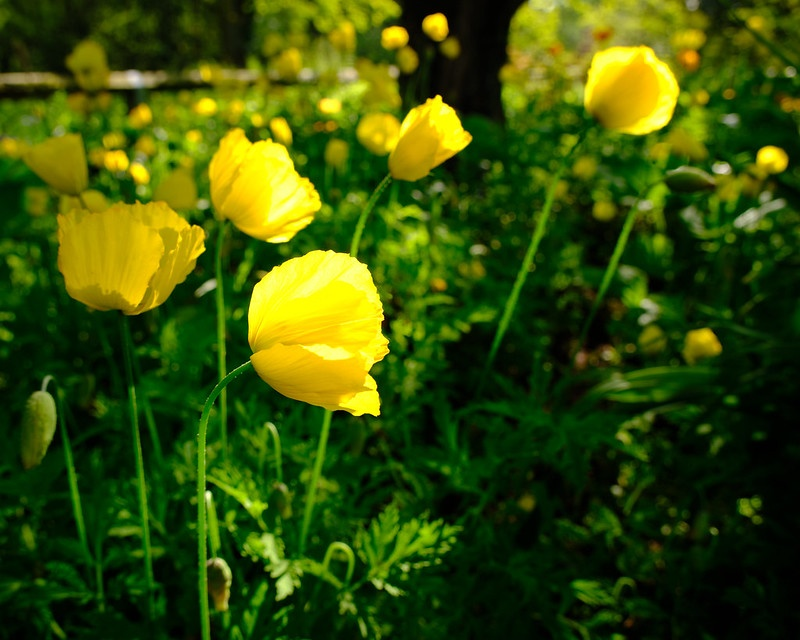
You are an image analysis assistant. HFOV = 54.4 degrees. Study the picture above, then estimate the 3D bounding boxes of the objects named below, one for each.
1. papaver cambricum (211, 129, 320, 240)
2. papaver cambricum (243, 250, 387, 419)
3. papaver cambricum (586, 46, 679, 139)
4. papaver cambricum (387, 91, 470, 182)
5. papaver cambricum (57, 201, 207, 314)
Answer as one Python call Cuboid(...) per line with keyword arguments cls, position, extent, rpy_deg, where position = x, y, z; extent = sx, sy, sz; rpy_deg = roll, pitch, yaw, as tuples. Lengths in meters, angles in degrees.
Cuboid(cls="papaver cambricum", position=(-0.261, -0.232, 1.349), extent=(0.171, 0.122, 0.162), rpy_deg=(19, 1, -27))
Cuboid(cls="papaver cambricum", position=(-0.124, 0.018, 1.187), extent=(0.212, 0.249, 0.089), rpy_deg=(4, 11, -9))
Cuboid(cls="papaver cambricum", position=(0.421, -0.425, 1.417), extent=(0.138, 0.156, 0.100), rpy_deg=(1, 12, -24))
Cuboid(cls="papaver cambricum", position=(0.036, -0.321, 1.364), extent=(0.117, 0.137, 0.106), rpy_deg=(38, 7, 22))
Cuboid(cls="papaver cambricum", position=(-0.429, -0.081, 1.217), extent=(0.218, 0.153, 0.220), rpy_deg=(10, -25, -20))
